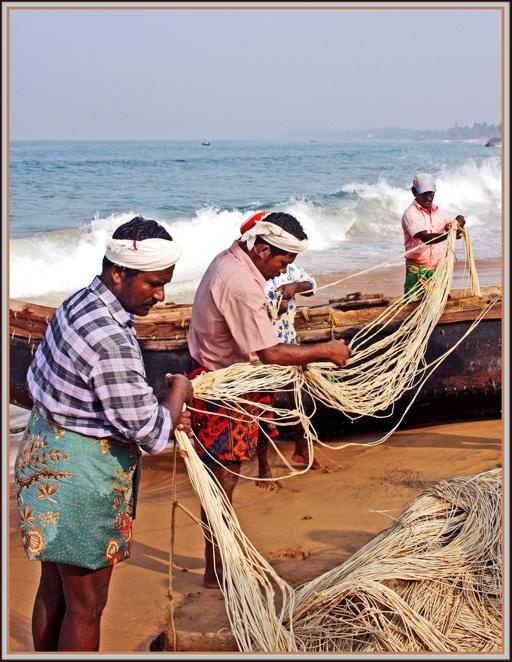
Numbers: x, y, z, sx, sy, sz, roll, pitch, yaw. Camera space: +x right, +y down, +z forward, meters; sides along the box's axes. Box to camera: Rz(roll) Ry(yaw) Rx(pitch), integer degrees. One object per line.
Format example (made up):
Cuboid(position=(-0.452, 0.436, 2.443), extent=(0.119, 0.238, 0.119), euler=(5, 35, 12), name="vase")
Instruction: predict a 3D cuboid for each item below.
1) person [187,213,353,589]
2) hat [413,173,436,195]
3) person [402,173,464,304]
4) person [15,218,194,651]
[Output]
Cuboid(position=(0.148, 0.237, 3.634), extent=(0.796, 1.559, 0.647), euler=(3, 17, 13), name="person")
Cuboid(position=(1.318, -1.144, 6.022), extent=(0.161, 0.104, 0.202), euler=(-3, 20, 2), name="hat")
Cuboid(position=(1.291, -0.732, 5.823), extent=(0.446, 0.928, 1.429), euler=(-6, 6, 11), name="person")
Cuboid(position=(-0.512, 0.364, 2.711), extent=(0.678, 1.491, 0.385), euler=(-9, 8, -6), name="person")
